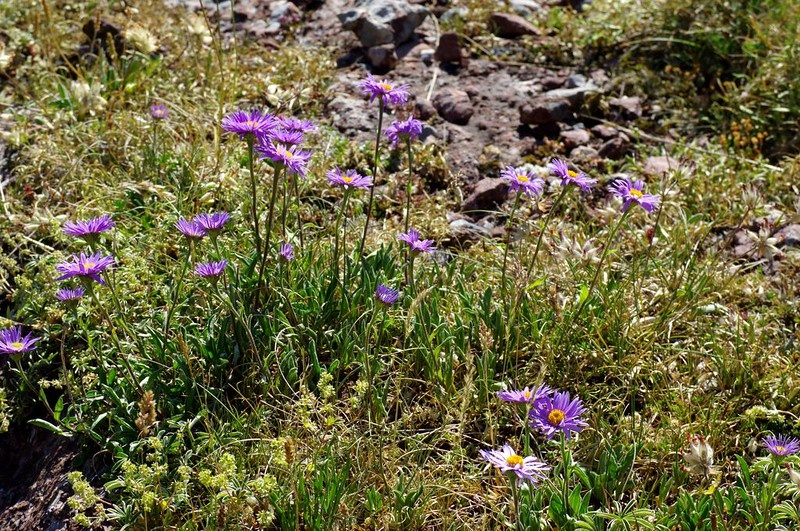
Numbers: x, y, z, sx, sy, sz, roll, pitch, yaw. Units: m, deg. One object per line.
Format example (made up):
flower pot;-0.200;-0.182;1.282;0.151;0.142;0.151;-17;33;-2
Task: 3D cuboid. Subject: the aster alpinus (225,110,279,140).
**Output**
aster alpinus;-0.741;-0.704;3.852;0.165;0.090;0.181;14;36;10

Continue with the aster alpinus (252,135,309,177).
aster alpinus;-0.602;-0.573;3.972;0.192;0.101;0.193;25;8;-42

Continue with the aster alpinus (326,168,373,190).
aster alpinus;-0.260;-0.456;4.121;0.165;0.079;0.179;16;25;16

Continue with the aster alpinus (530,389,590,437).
aster alpinus;0.702;0.695;3.470;0.228;0.126;0.258;-7;9;32

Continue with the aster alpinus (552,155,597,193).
aster alpinus;1.075;-0.550;4.774;0.288;0.149;0.295;32;11;-5

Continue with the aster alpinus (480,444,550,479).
aster alpinus;0.496;0.864;3.365;0.291;0.096;0.276;8;-2;-40
